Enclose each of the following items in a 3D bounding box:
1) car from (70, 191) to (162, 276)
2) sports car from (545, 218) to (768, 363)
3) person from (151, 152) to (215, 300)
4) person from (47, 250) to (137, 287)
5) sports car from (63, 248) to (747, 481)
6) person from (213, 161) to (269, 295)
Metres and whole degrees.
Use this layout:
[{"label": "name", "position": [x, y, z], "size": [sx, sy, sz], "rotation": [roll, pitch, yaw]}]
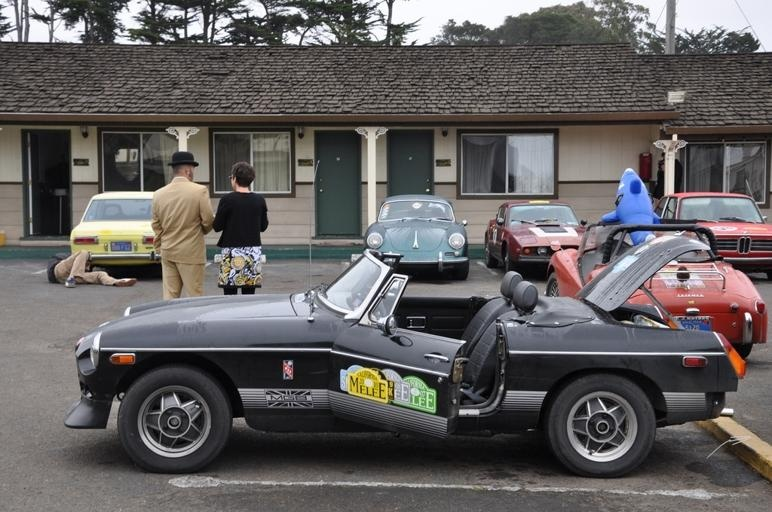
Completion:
[{"label": "car", "position": [-5.600, -0.584, 20.467], "size": [1.810, 1.510, 4.154], "rotation": [-1, 2, -9]}, {"label": "sports car", "position": [4.030, 0.360, 14.054], "size": [1.904, 1.276, 3.177], "rotation": [0, 9, -3]}, {"label": "person", "position": [-2.833, -0.427, 13.549], "size": [0.948, 1.983, 0.714], "rotation": [0, 0, -33]}, {"label": "person", "position": [-5.940, 0.255, 19.577], "size": [1.764, 0.721, 0.788], "rotation": [-1, -7, 14]}, {"label": "sports car", "position": [0.339, 1.365, 11.310], "size": [7.075, 2.613, 2.865], "rotation": [0, 0, 0]}, {"label": "person", "position": [-2.106, -0.324, 13.785], "size": [0.672, 2.018, 0.650], "rotation": [0, 0, -6]}]
